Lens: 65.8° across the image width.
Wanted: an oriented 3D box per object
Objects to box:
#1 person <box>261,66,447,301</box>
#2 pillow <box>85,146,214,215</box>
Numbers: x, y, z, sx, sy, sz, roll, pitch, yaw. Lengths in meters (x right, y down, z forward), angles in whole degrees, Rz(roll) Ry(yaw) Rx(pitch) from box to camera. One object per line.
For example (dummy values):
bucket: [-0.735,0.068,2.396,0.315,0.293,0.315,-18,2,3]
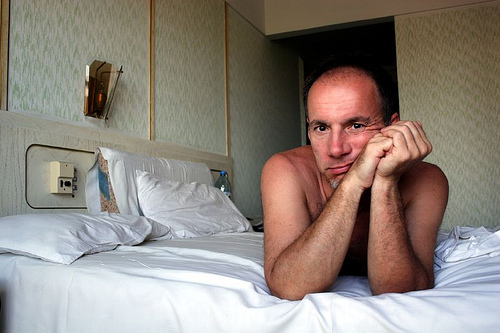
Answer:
person: [0.406,0.037,1.504,0.737,0.876,0.451,1,-2,12]
pillow: [-0.692,0.132,2.993,0.320,0.441,1.284,-4,-8,20]
